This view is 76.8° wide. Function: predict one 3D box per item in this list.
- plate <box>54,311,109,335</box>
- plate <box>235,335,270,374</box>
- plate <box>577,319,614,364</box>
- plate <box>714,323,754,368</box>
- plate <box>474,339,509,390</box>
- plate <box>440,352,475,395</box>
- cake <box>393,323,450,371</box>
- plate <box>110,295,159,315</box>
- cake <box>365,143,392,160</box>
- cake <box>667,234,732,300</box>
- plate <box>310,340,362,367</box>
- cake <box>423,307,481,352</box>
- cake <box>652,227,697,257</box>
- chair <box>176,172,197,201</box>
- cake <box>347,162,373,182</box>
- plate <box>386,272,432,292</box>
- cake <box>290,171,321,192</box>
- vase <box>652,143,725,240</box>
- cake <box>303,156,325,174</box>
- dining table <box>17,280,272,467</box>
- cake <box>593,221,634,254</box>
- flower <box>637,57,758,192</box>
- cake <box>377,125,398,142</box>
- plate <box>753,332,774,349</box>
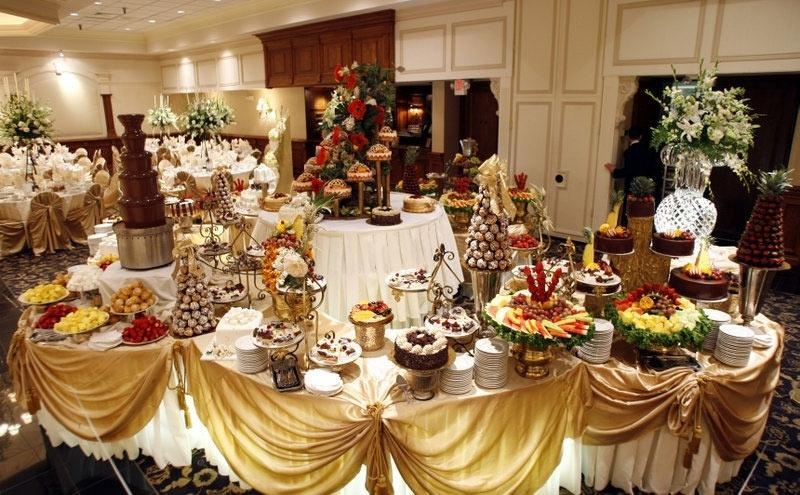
[{"bbox_3d":[-3.209,0.742,5.106,0.307,0.094,0.309,11,30,28],"label":"plate"},{"bbox_3d":[-1.358,0.979,4.726,0.317,0.229,0.295,-8,15,-28],"label":"plate"},{"bbox_3d":[1.788,0.878,4.814,0.375,0.391,0.385,-2,15,4],"label":"plate"},{"bbox_3d":[3.057,0.895,4.765,0.331,0.373,0.357,0,17,8],"label":"plate"},{"bbox_3d":[0.806,1.004,4.590,0.361,0.394,0.364,8,15,38],"label":"plate"},{"bbox_3d":[0.514,1.106,4.525,0.290,0.242,0.332,0,11,4],"label":"plate"},{"bbox_3d":[0.165,0.895,4.500,0.473,0.203,0.478,8,12,0],"label":"cake"},{"bbox_3d":[-2.726,0.603,5.172,0.263,0.087,0.265,-8,12,-42],"label":"plate"},{"bbox_3d":[-0.289,-1.315,7.030,0.266,0.163,0.265,-1,10,-1],"label":"cake"},{"bbox_3d":[3.109,0.186,5.163,0.570,0.625,0.576,-5,10,-38],"label":"cake"},{"bbox_3d":[-0.593,0.974,4.672,0.291,0.111,0.288,-12,19,-41],"label":"plate"},{"bbox_3d":[0.528,0.725,4.916,0.545,0.160,0.552,4,2,34],"label":"cake"},{"bbox_3d":[2.823,-0.041,5.192,0.314,0.191,0.314,-2,9,4],"label":"cake"},{"bbox_3d":[-4.517,-1.316,10.669,0.442,0.566,0.636,-8,14,-23],"label":"chair"},{"bbox_3d":[-0.554,-1.009,6.831,0.269,0.165,0.273,5,8,41],"label":"cake"},{"bbox_3d":[0.093,0.362,5.485,0.464,0.214,0.541,-2,13,1],"label":"plate"},{"bbox_3d":[-1.285,-0.911,7.177,0.665,0.290,0.321,10,17,42],"label":"cake"},{"bbox_3d":[3.258,-0.644,5.637,0.625,1.043,0.624,-8,13,-41],"label":"vase"},{"bbox_3d":[-1.241,-1.160,7.258,0.273,0.165,0.270,-3,6,-26],"label":"cake"},{"bbox_3d":[-2.932,1.274,5.156,1.634,0.742,1.546,5,21,0],"label":"dining table"},{"bbox_3d":[2.285,-0.097,5.382,0.382,0.252,0.381,-9,19,-18],"label":"cake"},{"bbox_3d":[3.104,-1.158,5.433,0.847,1.142,0.943,1,27,26],"label":"flower"},{"bbox_3d":[-0.169,-1.596,7.122,0.233,0.141,0.234,0,18,3],"label":"cake"},{"bbox_3d":[3.485,0.897,4.884,0.151,0.090,0.247,-6,7,-7],"label":"plate"}]
